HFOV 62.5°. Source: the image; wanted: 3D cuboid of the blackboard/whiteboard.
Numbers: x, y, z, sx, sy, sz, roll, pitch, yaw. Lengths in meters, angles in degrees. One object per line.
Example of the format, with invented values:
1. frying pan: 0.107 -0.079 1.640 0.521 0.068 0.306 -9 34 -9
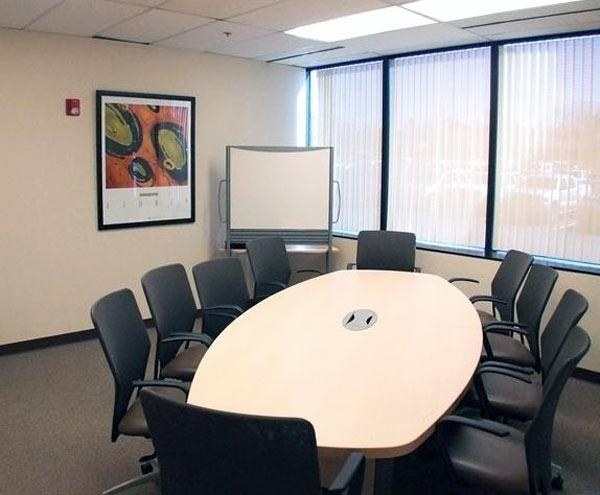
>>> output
1. blackboard/whiteboard: -0.271 -0.624 5.666 0.936 1.109 0.405 0 4 -5

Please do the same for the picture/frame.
1. picture/frame: -1.682 -0.960 5.223 1.213 1.882 0.058 -6 11 -38
